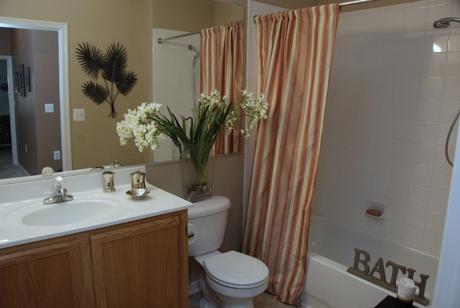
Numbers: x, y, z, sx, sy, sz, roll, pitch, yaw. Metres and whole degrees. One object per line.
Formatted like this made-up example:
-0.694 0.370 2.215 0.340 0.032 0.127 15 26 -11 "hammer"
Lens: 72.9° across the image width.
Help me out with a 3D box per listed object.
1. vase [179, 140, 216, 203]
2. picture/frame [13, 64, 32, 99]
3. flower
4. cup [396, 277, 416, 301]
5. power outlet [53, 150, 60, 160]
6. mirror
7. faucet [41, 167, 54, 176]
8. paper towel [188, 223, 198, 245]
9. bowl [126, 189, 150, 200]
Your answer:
-0.388 0.160 2.760 0.351 0.543 0.363 4 0 -16 "vase"
-1.431 -0.505 2.132 0.188 0.275 0.034 8 10 37 "picture/frame"
-0.272 -0.127 2.641 1.289 0.788 0.357 -8 16 -28 "flower"
1.246 0.956 2.209 0.109 0.127 0.109 -4 16 1 "cup"
-1.245 0.006 2.228 0.060 0.088 0.009 -2 5 -35 "power outlet"
-1.305 -0.433 2.177 0.381 0.965 0.129 -4 14 -15 "mirror"
-1.286 0.124 2.193 0.075 0.059 0.030 -10 17 -33 "faucet"
-0.306 0.654 2.543 0.080 0.202 0.021 -7 15 -24 "paper towel"
-0.657 0.280 2.198 0.093 0.027 0.093 3 20 -1 "bowl"
